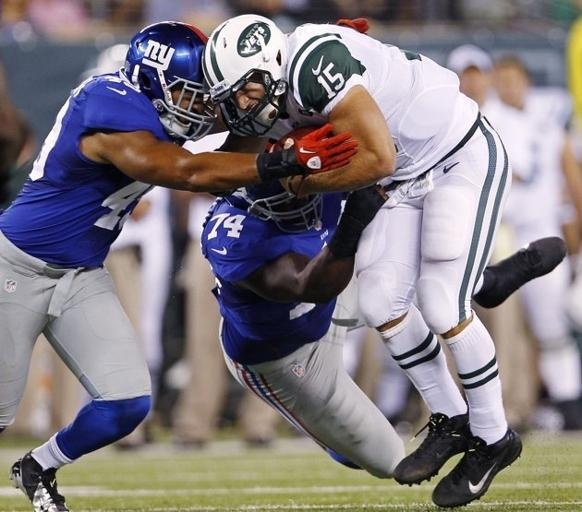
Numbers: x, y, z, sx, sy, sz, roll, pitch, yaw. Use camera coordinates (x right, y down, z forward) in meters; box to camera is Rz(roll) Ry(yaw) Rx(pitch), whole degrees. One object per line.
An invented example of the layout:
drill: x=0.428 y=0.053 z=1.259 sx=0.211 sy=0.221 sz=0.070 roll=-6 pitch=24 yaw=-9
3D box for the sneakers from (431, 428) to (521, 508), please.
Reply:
sneakers: x=0.668 y=0.761 z=3.147 sx=0.377 sy=0.176 sz=0.135 roll=-41 pitch=50 yaw=1

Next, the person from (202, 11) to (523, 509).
person: x=0.330 y=0.013 z=3.098 sx=0.942 sy=1.706 sz=0.667 roll=-1 pitch=23 yaw=13

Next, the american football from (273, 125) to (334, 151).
american football: x=0.034 y=-0.373 z=2.901 sx=0.137 sy=0.070 sz=0.102 roll=-23 pitch=-1 yaw=30

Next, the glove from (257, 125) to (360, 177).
glove: x=0.075 y=-0.293 z=2.752 sx=0.316 sy=0.089 sz=0.150 roll=-12 pitch=56 yaw=14

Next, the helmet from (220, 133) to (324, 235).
helmet: x=-0.021 y=-0.253 z=3.320 sx=0.445 sy=0.202 sz=0.304 roll=-7 pitch=31 yaw=1
